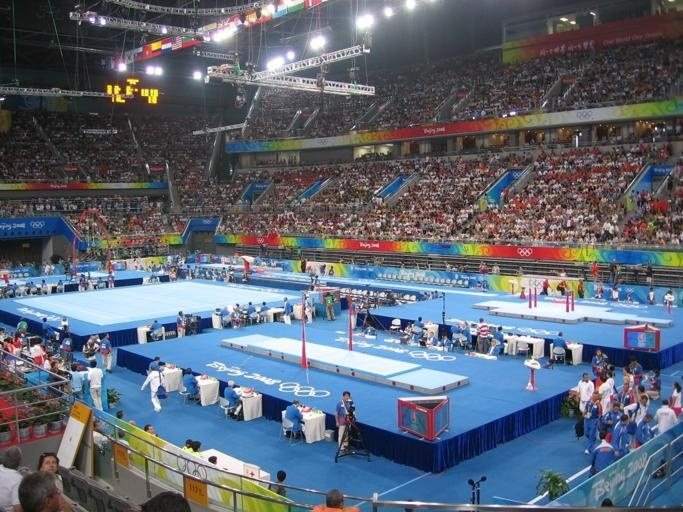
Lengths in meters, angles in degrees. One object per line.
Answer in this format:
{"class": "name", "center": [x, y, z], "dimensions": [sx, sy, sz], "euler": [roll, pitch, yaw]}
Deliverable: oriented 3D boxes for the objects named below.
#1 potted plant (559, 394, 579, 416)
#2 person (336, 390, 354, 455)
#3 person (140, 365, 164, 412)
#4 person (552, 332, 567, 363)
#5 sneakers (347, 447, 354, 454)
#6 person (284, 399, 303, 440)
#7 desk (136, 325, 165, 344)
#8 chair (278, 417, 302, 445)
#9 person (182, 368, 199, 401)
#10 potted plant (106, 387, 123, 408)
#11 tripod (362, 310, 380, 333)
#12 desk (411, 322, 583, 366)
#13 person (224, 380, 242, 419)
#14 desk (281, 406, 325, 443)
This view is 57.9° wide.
{"class": "potted plant", "center": [7.959, 5.181, 21.624], "dimensions": [0.606, 0.796, 0.637], "euler": [-1, 6, 9]}
{"class": "person", "center": [0.120, 5.137, 19.168], "dimensions": [0.528, 1.957, 0.664], "euler": [0, 1, -3]}
{"class": "person", "center": [-6.719, 4.768, 22.600], "dimensions": [0.721, 1.788, 0.844], "euler": [9, 16, 30]}
{"class": "person", "center": [9.098, 3.934, 25.814], "dimensions": [0.567, 1.059, 0.954], "euler": [1, 1, 34]}
{"class": "sneakers", "center": [0.270, 6.062, 19.185], "dimensions": [0.186, 0.096, 0.252], "euler": [2, 3, 0]}
{"class": "person", "center": [-1.514, 5.325, 19.948], "dimensions": [0.569, 1.233, 0.530], "euler": [0, 1, -8]}
{"class": "desk", "center": [-9.584, 3.897, 30.626], "dimensions": [0.960, 0.784, 0.998], "euler": [2, 4, 25]}
{"class": "chair", "center": [-1.663, 5.561, 20.072], "dimensions": [0.660, 0.956, 0.767], "euler": [4, 13, 28]}
{"class": "person", "center": [-5.539, 4.820, 22.953], "dimensions": [0.532, 1.344, 0.684], "euler": [2, 3, 28]}
{"class": "potted plant", "center": [-8.482, 5.253, 22.892], "dimensions": [0.604, 0.619, 0.595], "euler": [0, 2, -44]}
{"class": "tripod", "center": [1.414, 3.466, 31.863], "dimensions": [0.931, 1.760, 0.877], "euler": [0, -1, 11]}
{"class": "desk", "center": [6.867, 3.766, 27.438], "dimensions": [7.134, 1.468, 3.385], "euler": [0, 0, 35]}
{"class": "person", "center": [-3.774, 5.091, 21.665], "dimensions": [0.594, 1.362, 0.729], "euler": [-3, -3, 32]}
{"class": "desk", "center": [-1.231, 5.463, 19.969], "dimensions": [0.948, 0.932, 1.351], "euler": [-3, 4, -41]}
